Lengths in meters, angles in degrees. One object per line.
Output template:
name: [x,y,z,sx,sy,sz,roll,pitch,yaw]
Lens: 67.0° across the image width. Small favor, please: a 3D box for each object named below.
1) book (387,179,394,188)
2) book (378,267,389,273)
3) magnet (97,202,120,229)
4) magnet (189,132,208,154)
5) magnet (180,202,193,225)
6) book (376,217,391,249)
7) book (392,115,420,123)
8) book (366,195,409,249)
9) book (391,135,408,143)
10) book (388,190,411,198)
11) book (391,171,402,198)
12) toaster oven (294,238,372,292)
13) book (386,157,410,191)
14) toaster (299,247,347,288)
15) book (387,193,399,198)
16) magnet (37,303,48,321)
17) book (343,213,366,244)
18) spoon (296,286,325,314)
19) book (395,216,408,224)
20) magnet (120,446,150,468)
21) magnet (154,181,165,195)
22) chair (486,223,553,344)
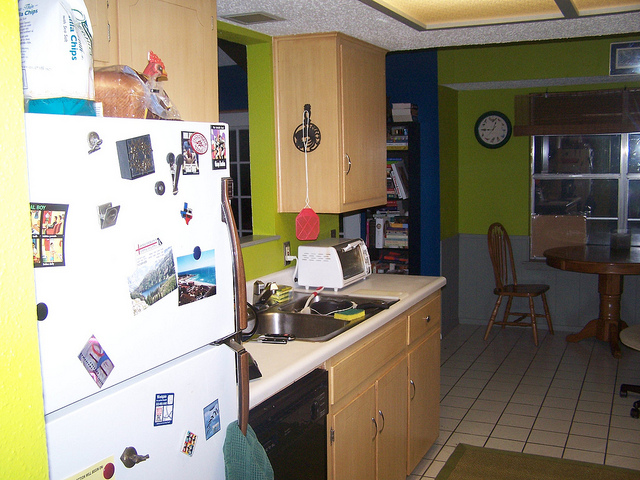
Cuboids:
book: [0.757,-0.629,5.262,0.101,0.104,0.074,5,16,23]
book: [0.696,0.320,5.353,0.100,0.071,0.054,-1,1,-18]
magnet: [-0.498,-0.059,1.135,0.020,0.052,0.051,13,16,13]
magnet: [-0.349,-0.285,1.411,0.011,0.050,0.049,-5,-9,29]
magnet: [-0.375,-0.075,1.369,0.017,0.023,0.059,8,47,-17]
book: [0.694,-0.088,5.277,0.196,0.327,0.050,-8,9,-40]
book: [0.954,-1.292,5.145,0.374,0.083,0.137,-8,10,-37]
book: [0.795,-0.203,5.484,0.444,0.613,0.848,1,7,18]
book: [0.851,-1.076,5.142,0.158,0.072,0.020,0,7,13]
book: [0.867,-0.503,5.206,0.217,0.086,0.060,-2,7,3]
book: [0.818,-0.600,5.164,0.112,0.282,0.045,-3,7,-7]
toaster oven: [0.091,0.144,3.255,0.369,0.291,0.489,3,9,31]
book: [0.836,-0.715,5.172,0.231,0.355,0.137,0,7,14]
toaster: [0.057,0.132,3.252,0.299,0.272,0.439,1,10,20]
book: [0.778,-0.480,5.155,0.133,0.034,0.126,6,7,40]
magnet: [-0.570,0.146,0.997,0.006,0.028,0.029,-2,-18,14]
book: [0.332,-0.126,4.765,0.111,0.262,0.292,5,8,32]
spoon: [-0.053,0.365,2.933,0.059,0.040,0.229,6,24,7]
book: [0.889,-0.226,5.286,0.136,0.082,0.037,-2,7,-4]
magnet: [-0.472,0.545,1.216,0.047,0.024,0.037,7,50,-24]
magnet: [-0.422,-0.139,1.281,0.006,0.029,0.028,1,-1,31]
chair: [2.305,0.442,5.636,0.672,1.307,0.890,1,8,21]
